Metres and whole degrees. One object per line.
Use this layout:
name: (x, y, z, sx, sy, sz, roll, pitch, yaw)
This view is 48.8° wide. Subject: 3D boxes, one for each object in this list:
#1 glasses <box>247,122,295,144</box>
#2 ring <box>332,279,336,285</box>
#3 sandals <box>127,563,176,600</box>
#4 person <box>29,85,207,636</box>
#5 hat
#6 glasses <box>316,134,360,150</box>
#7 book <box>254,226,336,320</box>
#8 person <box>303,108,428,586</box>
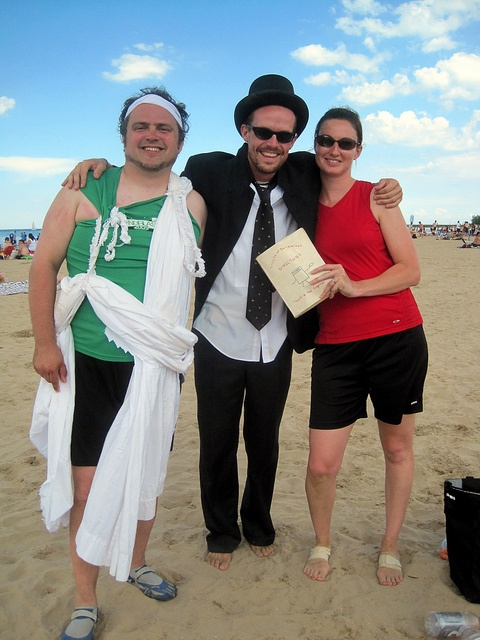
glasses: (0.162, -0.910, 2.591, 0.240, 0.111, 0.143, -2, 6, -1)
ring: (0.424, -0.175, 2.384, 0.021, 0.027, 0.008, 0, 0, 7)
sandals: (-0.449, 1.321, 2.661, 0.221, 0.084, 0.123, 15, 17, 24)
person: (-0.508, 0.199, 2.372, 0.784, 2.441, 0.517, -8, 8, -42)
hat: (0.159, -1.112, 2.667, 0.378, 0.175, 0.318, 1, 0, 1)
glasses: (0.469, -0.850, 2.533, 0.203, 0.089, 0.077, -1, 6, 10)
book: (0.256, -0.224, 2.465, 0.336, 0.398, 0.105, 2, 7, 29)
person: (0.613, 0.159, 2.621, 0.631, 2.401, 0.467, -1, 6, 6)
